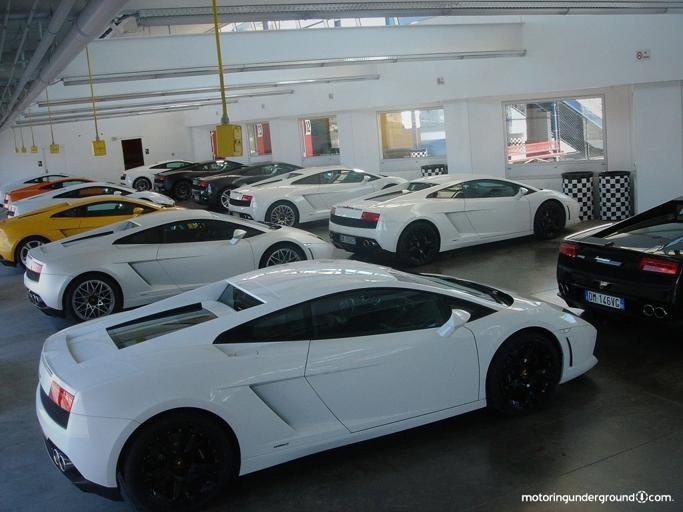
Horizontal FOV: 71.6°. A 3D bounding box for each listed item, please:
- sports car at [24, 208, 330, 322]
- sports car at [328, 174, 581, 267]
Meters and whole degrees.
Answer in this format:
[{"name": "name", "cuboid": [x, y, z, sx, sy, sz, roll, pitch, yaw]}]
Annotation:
[{"name": "sports car", "cuboid": [-2.461, 0.011, 7.415, 3.946, 0.827, 2.017, -10, 9, -20]}, {"name": "sports car", "cuboid": [2.363, -0.788, 9.342, 4.246, 0.893, 2.034, -10, 11, -16]}]
